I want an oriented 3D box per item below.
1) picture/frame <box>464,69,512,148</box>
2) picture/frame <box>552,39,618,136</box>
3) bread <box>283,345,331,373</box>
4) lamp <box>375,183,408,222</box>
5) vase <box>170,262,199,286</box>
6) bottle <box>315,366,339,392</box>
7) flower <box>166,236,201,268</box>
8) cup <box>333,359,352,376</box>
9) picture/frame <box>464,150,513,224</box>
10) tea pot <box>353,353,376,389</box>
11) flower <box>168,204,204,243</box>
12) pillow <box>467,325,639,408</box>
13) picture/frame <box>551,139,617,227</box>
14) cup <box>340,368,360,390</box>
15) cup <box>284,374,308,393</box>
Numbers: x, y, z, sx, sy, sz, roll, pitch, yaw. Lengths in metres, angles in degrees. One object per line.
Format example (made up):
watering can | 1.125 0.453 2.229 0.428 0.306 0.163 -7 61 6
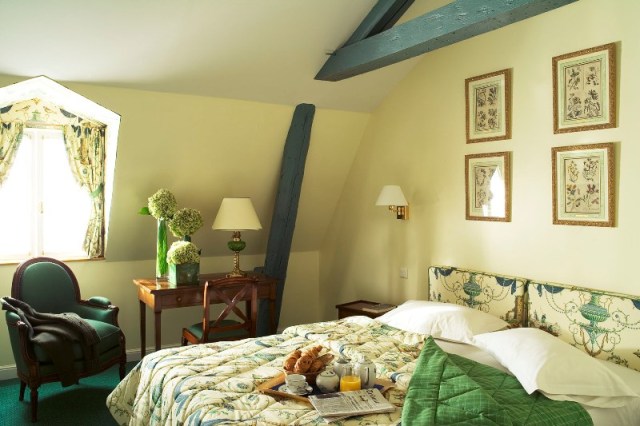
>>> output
picture/frame | 1.592 -0.997 4.203 0.111 0.660 0.504 -14 18 -43
picture/frame | 2.155 -1.000 3.618 0.511 0.682 0.185 6 15 30
bread | -0.076 0.960 3.046 0.249 0.079 0.179 -1 -1 -43
lamp | 0.791 -0.119 4.815 0.380 0.457 0.383 1 1 -20
vase | -1.396 0.600 4.585 0.256 0.180 0.248 0 1 -23
bottle | 0.052 1.080 2.919 0.131 0.116 0.129 1 -6 0
flower | -1.389 0.402 4.626 0.264 0.171 0.274 1 -3 5
cup | 0.151 1.018 2.949 0.115 0.106 0.084 1 -2 -13
picture/frame | 1.597 -0.259 4.200 0.123 0.627 0.503 -14 18 -43
tea pot | 0.298 1.037 2.900 0.138 0.182 0.184 0 -2 3
flower | -1.477 0.152 4.750 0.374 0.374 0.367 5 7 33
pillow | 1.616 1.002 3.156 0.454 0.144 0.589 1 8 -24
picture/frame | 2.155 -0.231 3.627 0.504 0.670 0.213 6 15 29
cup | 0.194 1.088 2.887 0.143 0.077 0.127 -8 14 -28
cup | -0.160 1.087 2.856 0.098 0.074 0.118 -2 -7 9
